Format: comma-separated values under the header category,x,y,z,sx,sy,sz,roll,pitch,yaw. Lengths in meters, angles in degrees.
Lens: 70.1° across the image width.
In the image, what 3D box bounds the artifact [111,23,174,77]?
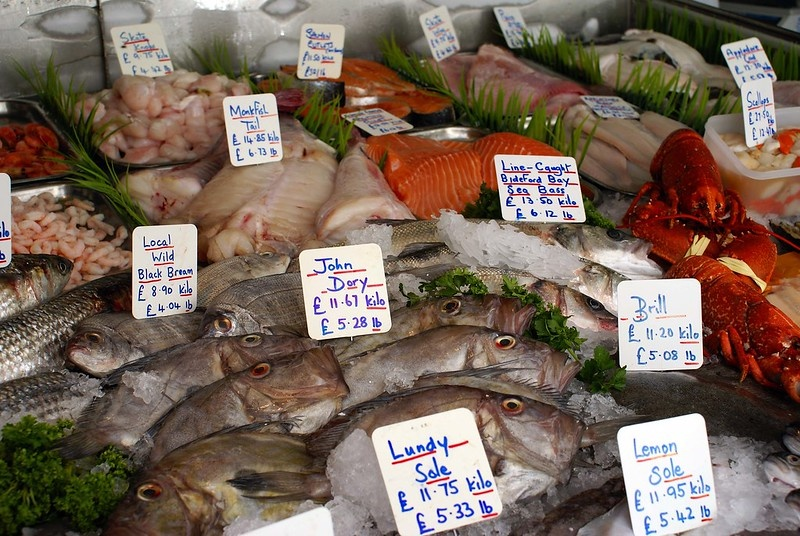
category,x,y,z,sx,sy,sz,roll,pitch,yaw
artifact,-1.683,-1.400,3.722,0.322,0.287,0.272,-23,55,-16

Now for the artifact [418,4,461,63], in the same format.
category,x,y,z,sx,sy,sz,roll,pitch,yaw
artifact,0.279,-1.801,4.471,0.280,0.366,0.306,36,61,26

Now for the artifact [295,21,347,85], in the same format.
category,x,y,z,sx,sy,sz,roll,pitch,yaw
artifact,-0.561,-1.472,3.962,0.295,0.283,0.335,7,52,6
